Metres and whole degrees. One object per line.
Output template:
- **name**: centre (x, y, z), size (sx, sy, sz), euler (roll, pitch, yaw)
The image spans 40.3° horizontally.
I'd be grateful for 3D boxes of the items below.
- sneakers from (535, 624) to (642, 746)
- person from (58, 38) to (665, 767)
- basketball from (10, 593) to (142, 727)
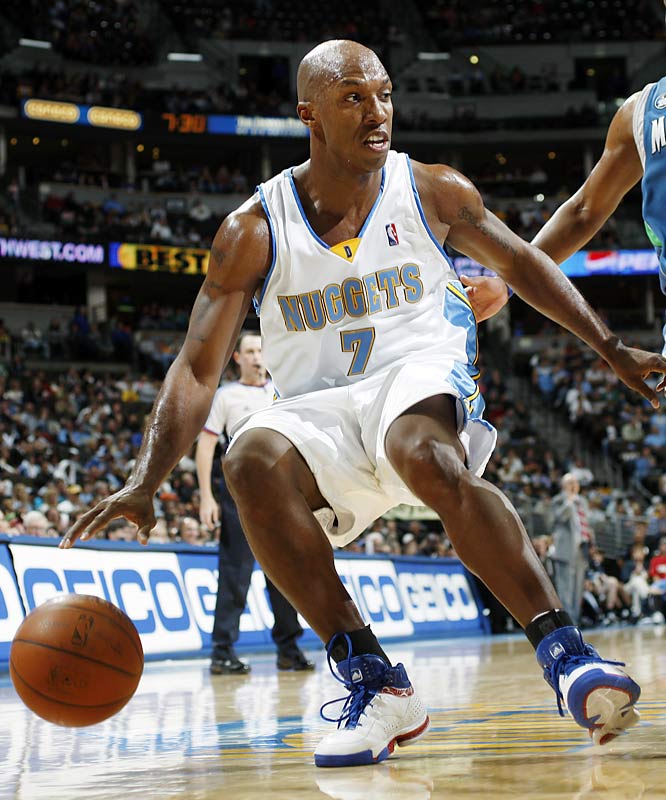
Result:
- **sneakers**: centre (0.454, 0.524, 1.638), size (0.159, 0.209, 0.173), euler (-2, 29, 4)
- **person**: centre (0.082, -0.050, 1.959), size (0.872, 1.305, 1.079), euler (6, 31, 17)
- **basketball**: centre (-0.507, 0.546, 1.833), size (0.250, 0.294, 0.192), euler (-16, 32, -20)
